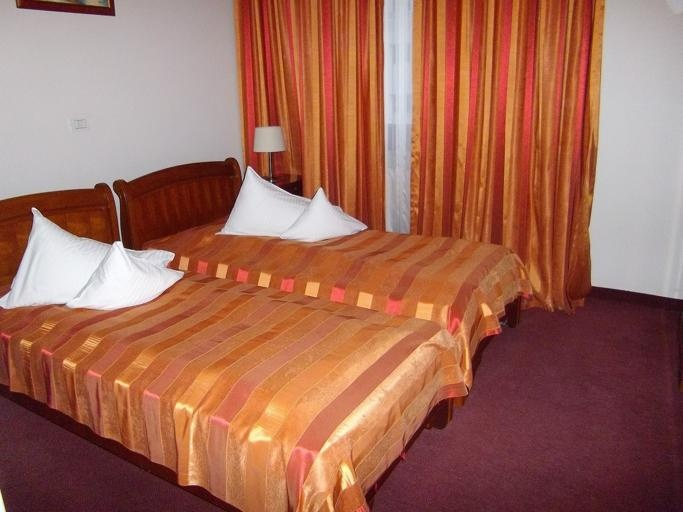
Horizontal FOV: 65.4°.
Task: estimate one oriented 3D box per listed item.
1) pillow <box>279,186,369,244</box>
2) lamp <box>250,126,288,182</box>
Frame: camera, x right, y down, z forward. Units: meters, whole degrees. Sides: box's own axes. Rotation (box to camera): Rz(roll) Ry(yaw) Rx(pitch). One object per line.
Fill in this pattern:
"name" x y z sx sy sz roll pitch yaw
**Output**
"pillow" -0.145 -0.332 4.873 0.516 0.183 0.539 -1 41 -19
"lamp" -0.815 -1.150 5.916 0.382 0.729 0.392 22 34 37
